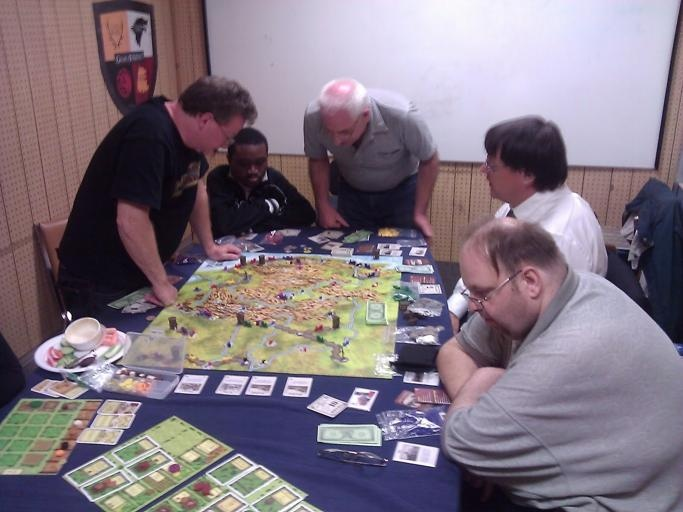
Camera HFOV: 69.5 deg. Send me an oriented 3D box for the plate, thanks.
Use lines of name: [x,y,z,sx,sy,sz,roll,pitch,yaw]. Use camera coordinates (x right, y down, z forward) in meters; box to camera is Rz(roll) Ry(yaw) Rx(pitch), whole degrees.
plate: [-1.119,0.410,2.153,0.398,0.052,0.399,4,20,-7]

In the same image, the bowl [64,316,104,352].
bowl: [-1.118,0.336,2.150,0.138,0.085,0.140,3,51,-4]

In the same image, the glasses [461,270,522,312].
glasses: [0.517,0.105,1.700,0.149,0.045,0.141,-38,6,-5]
